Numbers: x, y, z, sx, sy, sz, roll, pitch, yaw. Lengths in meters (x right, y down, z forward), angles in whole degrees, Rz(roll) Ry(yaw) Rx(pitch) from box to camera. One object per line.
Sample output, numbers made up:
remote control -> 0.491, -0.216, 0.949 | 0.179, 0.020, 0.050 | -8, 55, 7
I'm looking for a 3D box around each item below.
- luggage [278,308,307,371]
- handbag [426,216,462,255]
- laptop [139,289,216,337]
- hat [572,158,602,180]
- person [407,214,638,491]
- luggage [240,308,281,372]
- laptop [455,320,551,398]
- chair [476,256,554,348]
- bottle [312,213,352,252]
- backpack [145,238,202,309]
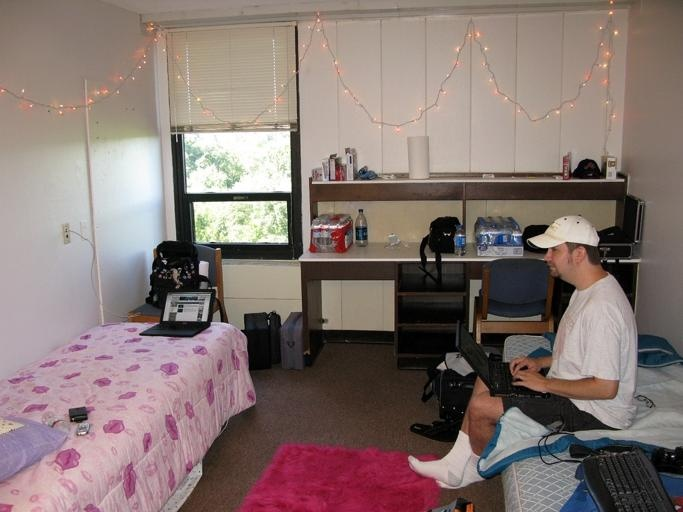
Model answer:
luggage -> -0.414, 0.696, 4.523 | 0.231, 0.392, 0.434 | 0, 17, -3
handbag -> 0.811, -0.181, 4.343 | 0.226, 0.246, 0.225 | 4, 8, 25
laptop -> -1.092, 0.371, 3.477 | 0.378, 0.242, 0.367 | 0, 6, 12
hat -> 2.028, -0.715, 4.332 | 0.150, 0.079, 0.212 | 3, 23, 19
person -> 0.895, 0.551, 2.768 | 1.144, 1.435, 0.704 | -2, 5, 14
luggage -> -0.670, 0.706, 4.432 | 0.363, 0.457, 0.321 | -2, 1, 25
laptop -> 0.800, 0.561, 2.767 | 0.344, 0.241, 0.378 | 1, 17, 8
chair -> 1.348, 0.345, 4.095 | 0.538, 0.845, 0.597 | 0, 19, 17
bottle -> -0.102, -0.190, 4.449 | 0.364, 0.284, 0.289 | -3, 10, -4
backpack -> -1.409, 0.101, 4.517 | 0.511, 0.637, 0.343 | -1, 23, -5
